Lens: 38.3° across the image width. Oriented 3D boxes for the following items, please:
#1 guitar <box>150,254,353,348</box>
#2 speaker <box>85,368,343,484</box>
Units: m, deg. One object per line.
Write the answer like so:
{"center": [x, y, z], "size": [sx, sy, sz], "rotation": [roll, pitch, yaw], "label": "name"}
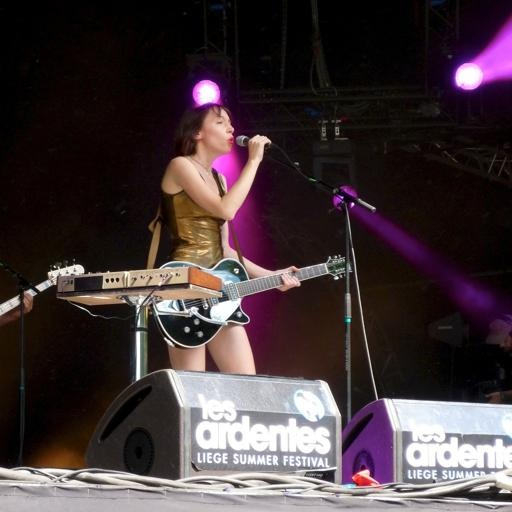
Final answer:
{"center": [-0.006, 0.162, 2.995], "size": [0.819, 0.339, 0.094], "rotation": [-15, 2, -43], "label": "guitar"}
{"center": [-0.100, 0.435, 1.907], "size": [0.659, 0.272, 0.364], "rotation": [6, -15, -12], "label": "speaker"}
